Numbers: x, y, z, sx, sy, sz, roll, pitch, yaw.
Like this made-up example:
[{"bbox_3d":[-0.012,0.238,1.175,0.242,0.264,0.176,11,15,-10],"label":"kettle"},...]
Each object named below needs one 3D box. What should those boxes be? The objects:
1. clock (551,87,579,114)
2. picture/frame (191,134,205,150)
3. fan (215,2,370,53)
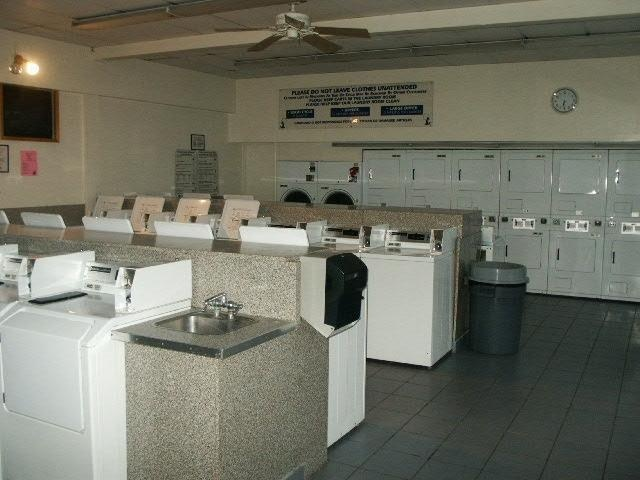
[{"bbox_3d":[3.849,-2.191,8.016,0.505,0.344,0.114,7,9,33],"label":"clock"},{"bbox_3d":[-2.383,-1.911,9.934,0.070,0.251,0.463,4,6,33],"label":"picture/frame"},{"bbox_3d":[-0.352,-2.446,5.810,1.479,0.291,1.406,0,1,-22],"label":"fan"}]
